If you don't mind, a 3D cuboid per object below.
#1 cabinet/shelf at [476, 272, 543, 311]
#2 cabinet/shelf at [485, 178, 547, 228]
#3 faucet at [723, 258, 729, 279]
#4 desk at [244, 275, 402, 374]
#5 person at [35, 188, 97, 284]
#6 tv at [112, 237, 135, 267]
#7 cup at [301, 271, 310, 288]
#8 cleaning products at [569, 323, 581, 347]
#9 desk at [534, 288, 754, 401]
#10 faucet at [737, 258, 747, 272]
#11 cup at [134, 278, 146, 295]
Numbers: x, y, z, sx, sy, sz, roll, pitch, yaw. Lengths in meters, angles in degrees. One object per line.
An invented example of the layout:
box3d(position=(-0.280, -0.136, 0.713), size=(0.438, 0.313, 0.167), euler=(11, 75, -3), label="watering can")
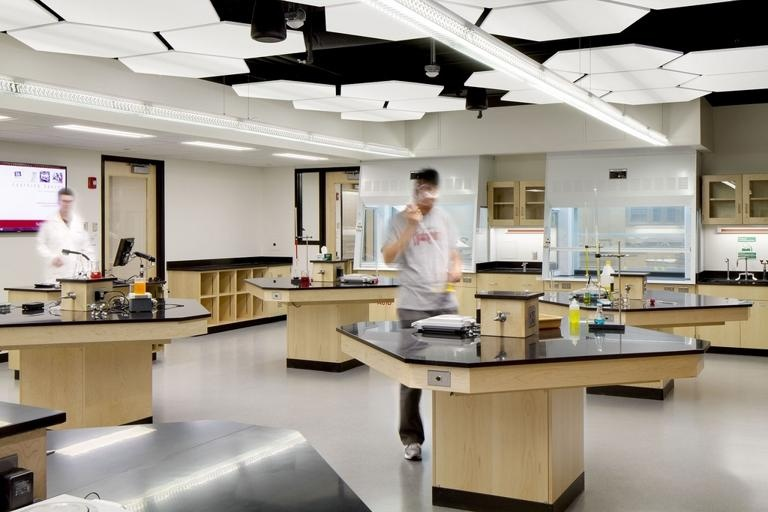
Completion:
box3d(position=(2.016, 0.405, 9.433), size=(1.155, 0.995, 0.639), euler=(-2, -6, 19), label="cabinet/shelf")
box3d(position=(2.322, -0.917, 10.094), size=(0.975, 0.762, 0.322), euler=(2, 6, 22), label="cabinet/shelf")
box3d(position=(5.464, 0.196, 9.094), size=(0.083, 0.310, 0.151), euler=(3, 6, 28), label="faucet")
box3d(position=(-0.799, 0.820, 7.453), size=(1.439, 0.855, 1.437), euler=(1, 1, 21), label="desk")
box3d(position=(-3.930, -0.215, 7.054), size=(0.635, 1.202, 2.940), euler=(-3, 6, -27), label="person")
box3d(position=(-3.606, -0.068, 7.881), size=(0.141, 0.399, 0.428), euler=(17, 10, 4), label="tv")
box3d(position=(-1.121, 0.337, 8.123), size=(0.132, 0.225, 0.135), euler=(1, -5, 0), label="cup")
box3d(position=(1.354, 0.560, 4.109), size=(0.112, 0.197, 0.119), euler=(-2, -9, 14), label="cleaning products")
box3d(position=(2.303, 0.795, 5.035), size=(1.355, 0.749, 1.603), euler=(0, 0, 30), label="desk")
box3d(position=(5.683, 0.147, 9.053), size=(0.088, 0.219, 0.135), euler=(-4, 7, -38), label="faucet")
box3d(position=(-2.324, 0.288, 5.436), size=(0.094, 0.133, 0.208), euler=(-2, 5, -19), label="cup")
